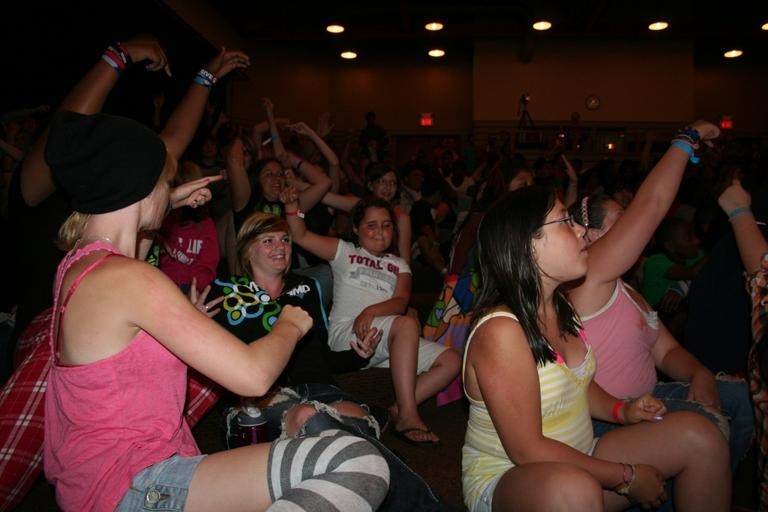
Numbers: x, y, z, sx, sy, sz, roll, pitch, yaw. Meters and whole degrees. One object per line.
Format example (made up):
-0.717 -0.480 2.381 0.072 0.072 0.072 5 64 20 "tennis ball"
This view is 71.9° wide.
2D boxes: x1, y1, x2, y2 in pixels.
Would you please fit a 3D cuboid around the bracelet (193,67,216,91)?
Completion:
-0.981 -0.973 2.921 0.120 0.097 0.119 17 25 -20 "bracelet"

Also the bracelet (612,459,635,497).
0.984 0.909 2.161 0.042 0.087 0.108 17 56 22 "bracelet"

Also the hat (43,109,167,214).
-0.980 -0.323 1.968 0.368 0.380 0.241 -1 -5 23 "hat"

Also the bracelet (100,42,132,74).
-1.351 -0.986 2.632 0.122 0.143 0.148 6 -1 2 "bracelet"
